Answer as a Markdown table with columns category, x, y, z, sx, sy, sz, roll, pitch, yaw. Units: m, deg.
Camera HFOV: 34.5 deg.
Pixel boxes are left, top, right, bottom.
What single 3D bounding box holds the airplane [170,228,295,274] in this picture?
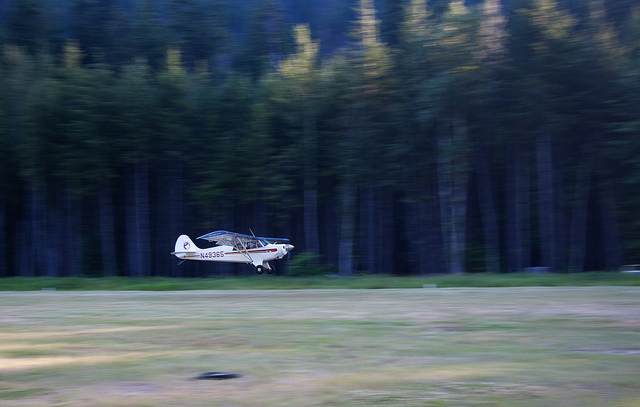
| category | x | y | z | sx | sy | sz | roll | pitch | yaw |
| --- | --- | --- | --- | --- | --- | --- | --- | --- | --- |
| airplane | -5.477 | 2.961 | 65.483 | 6.390 | 0.978 | 5.518 | 3 | 7 | 22 |
